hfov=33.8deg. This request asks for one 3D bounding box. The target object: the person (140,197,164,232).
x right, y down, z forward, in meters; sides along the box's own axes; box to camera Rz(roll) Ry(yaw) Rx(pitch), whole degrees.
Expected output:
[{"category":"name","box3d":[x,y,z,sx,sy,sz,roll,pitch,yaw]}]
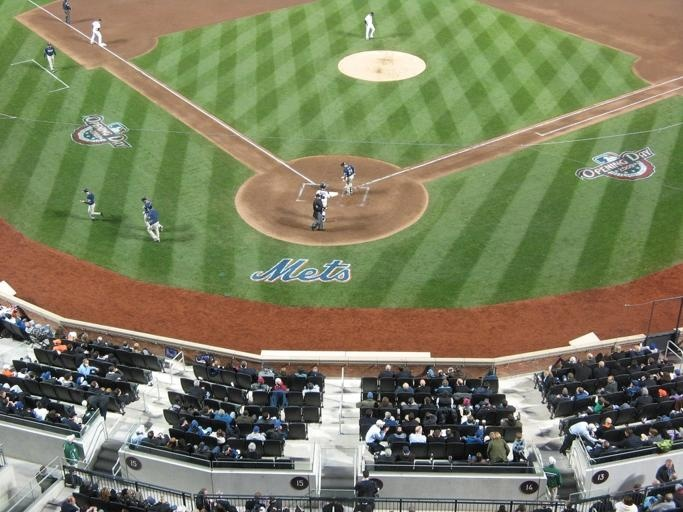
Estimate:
[{"category":"person","box3d":[-9.698,-2.086,56.255,1.193,1.068,2.345,-5,-57,-4]}]
